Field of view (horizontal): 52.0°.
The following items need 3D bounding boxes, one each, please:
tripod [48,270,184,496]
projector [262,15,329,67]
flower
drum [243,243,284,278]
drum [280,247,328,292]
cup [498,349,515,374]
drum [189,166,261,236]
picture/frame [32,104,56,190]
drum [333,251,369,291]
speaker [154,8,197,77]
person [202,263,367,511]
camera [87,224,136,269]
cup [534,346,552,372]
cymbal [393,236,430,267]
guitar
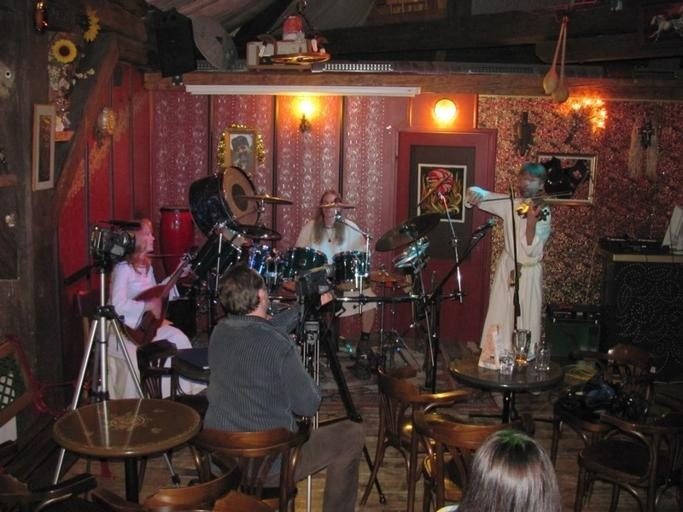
[{"bbox_3d":[-1.634,0.817,5.154,0.778,1.661,0.795,-7,-9,7],"label":"tripod"},{"bbox_3d":[-0.423,-1.826,5.924,0.582,0.392,0.581,-7,8,-9],"label":"projector"},{"bbox_3d":[-2.459,-1.886,6.405,0.170,0.709,0.511,12,-4,38],"label":"flower"},{"bbox_3d":[-0.811,0.091,7.295,0.338,0.277,0.344,6,0,34],"label":"drum"},{"bbox_3d":[-0.380,0.111,7.108,0.453,0.367,0.472,1,-10,0],"label":"drum"},{"bbox_3d":[1.223,0.794,5.204,0.108,0.157,0.122,3,5,11],"label":"cup"},{"bbox_3d":[-1.305,-0.604,7.864,0.495,0.745,0.678,-12,-6,28],"label":"drum"},{"bbox_3d":[-2.483,-0.898,5.880,0.108,0.714,0.434,1,5,-9],"label":"picture/frame"},{"bbox_3d":[0.104,0.163,7.125,0.467,0.379,0.471,-1,-4,-40],"label":"drum"},{"bbox_3d":[-1.850,-2.407,8.038,0.351,0.724,0.398,-6,4,1],"label":"speaker"},{"bbox_3d":[-0.359,0.870,4.419,0.987,1.576,0.632,1,5,-13],"label":"person"},{"bbox_3d":[-1.657,-0.122,5.149,0.234,0.305,0.316,6,-6,33],"label":"camera"},{"bbox_3d":[1.523,0.789,5.355,0.150,0.219,0.156,0,0,0],"label":"cup"},{"bbox_3d":[0.659,-0.016,6.512,0.304,0.108,0.245,-27,-8,-8],"label":"cymbal"},{"bbox_3d":[-1.705,0.456,6.404,0.105,0.289,0.698,-4,43,31],"label":"guitar"}]
